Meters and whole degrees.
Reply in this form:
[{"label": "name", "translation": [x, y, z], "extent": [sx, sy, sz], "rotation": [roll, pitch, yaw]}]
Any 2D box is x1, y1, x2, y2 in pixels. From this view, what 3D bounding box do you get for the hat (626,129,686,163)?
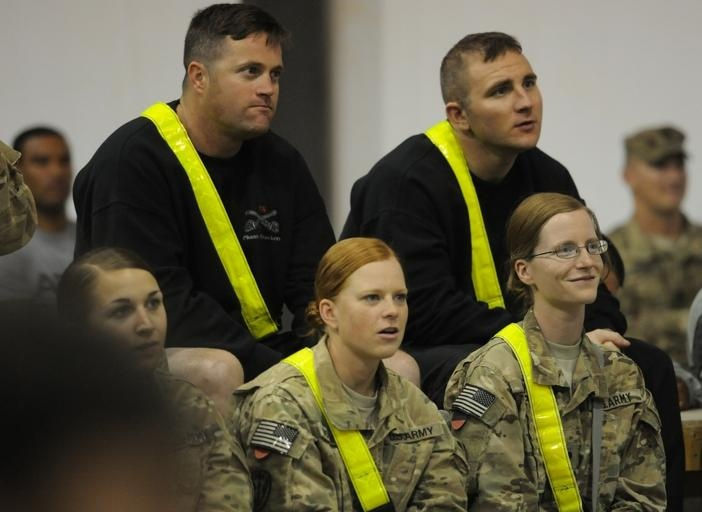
[{"label": "hat", "translation": [1.735, -0.647, 6.812], "extent": [0.294, 0.108, 0.198], "rotation": [-8, 3, -16]}]
